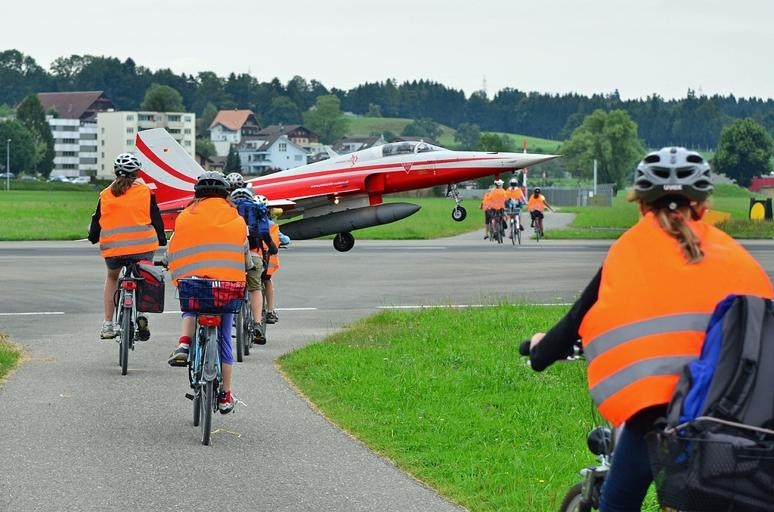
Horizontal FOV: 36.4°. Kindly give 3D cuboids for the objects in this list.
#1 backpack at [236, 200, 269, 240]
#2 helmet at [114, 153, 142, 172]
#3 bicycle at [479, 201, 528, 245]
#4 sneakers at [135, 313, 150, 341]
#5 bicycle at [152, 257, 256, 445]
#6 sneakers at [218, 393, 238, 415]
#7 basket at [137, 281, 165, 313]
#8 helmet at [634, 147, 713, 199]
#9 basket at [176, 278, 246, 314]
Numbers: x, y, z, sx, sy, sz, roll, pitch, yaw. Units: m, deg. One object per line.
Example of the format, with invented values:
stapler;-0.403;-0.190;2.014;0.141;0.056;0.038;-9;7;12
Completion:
backpack;-1.659;-0.484;14.235;0.476;0.437;0.375;-3;-8;14
helmet;-2.982;-1.072;13.348;0.288;0.214;0.457;-1;7;-13
bicycle;3.718;-0.950;34.891;0.873;0.960;1.699;-2;1;-10
sneakers;-2.824;0.810;13.515;0.132;0.327;0.145;-2;11;2
bicycle;-1.716;0.928;11.054;0.545;1.513;0.786;-5;9;-42
sneakers;-1.515;1.391;11.070;0.101;0.126;0.289;1;18;3
basket;-2.762;0.412;13.531;0.374;0.447;0.281;3;-4;-6
helmet;1.881;-0.550;7.665;0.498;0.335;0.685;1;5;19
basket;-1.642;0.365;10.835;0.502;0.317;0.229;4;26;-6
